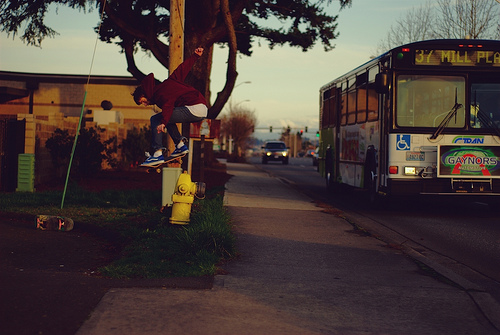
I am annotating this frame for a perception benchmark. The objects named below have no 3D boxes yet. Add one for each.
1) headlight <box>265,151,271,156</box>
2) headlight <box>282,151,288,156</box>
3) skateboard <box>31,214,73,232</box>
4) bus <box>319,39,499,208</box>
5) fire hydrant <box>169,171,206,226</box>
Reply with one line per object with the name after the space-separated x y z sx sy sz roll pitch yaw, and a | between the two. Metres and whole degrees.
1.719 -1.372 52.004 0.577 0.383 0.427 1 7 -11 | headlight
3.268 -1.370 51.929 0.385 0.389 0.551 6 8 31 | headlight
-4.502 1.246 12.557 1.186 0.447 0.185 3 2 18 | skateboard
3.928 -1.328 18.901 3.325 5.450 10.303 0 7 -16 | bus
-1.331 0.578 11.994 0.952 1.648 0.879 0 9 -7 | fire hydrant
